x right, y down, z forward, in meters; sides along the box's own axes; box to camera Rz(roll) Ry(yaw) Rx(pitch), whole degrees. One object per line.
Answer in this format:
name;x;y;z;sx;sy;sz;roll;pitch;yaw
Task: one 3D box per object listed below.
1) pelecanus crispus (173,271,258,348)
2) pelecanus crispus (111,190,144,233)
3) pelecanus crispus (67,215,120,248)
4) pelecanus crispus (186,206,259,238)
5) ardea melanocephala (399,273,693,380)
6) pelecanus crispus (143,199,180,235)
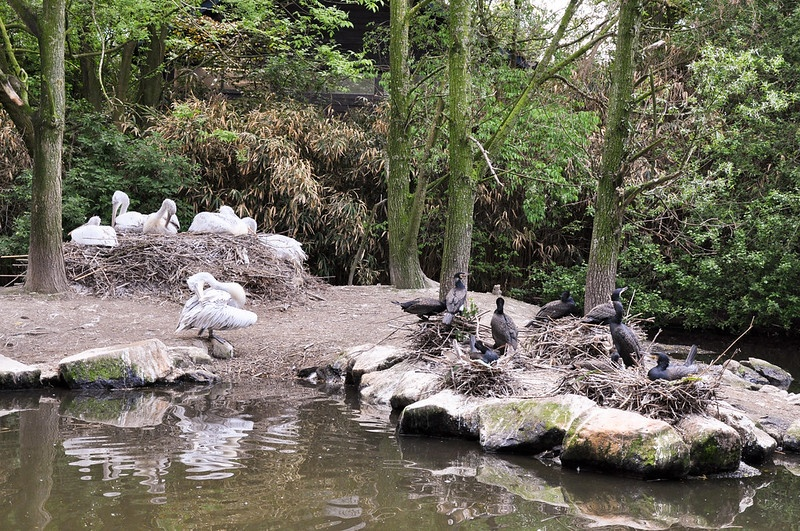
pelecanus crispus;-3.196;0.725;16.432;1.495;1.129;1.070;-3;11;-24
pelecanus crispus;-5.940;-1.290;20.729;0.809;0.647;0.510;-1;31;-24
pelecanus crispus;-6.311;-0.631;19.533;0.675;0.369;0.896;-3;15;-17
pelecanus crispus;-3.777;-0.960;20.233;1.372;0.574;0.622;3;10;-11
ardea melanocephala;1.713;0.791;15.508;3.317;1.103;1.330;5;10;0
pelecanus crispus;-5.012;-1.052;19.865;0.698;0.780;0.784;3;10;-14
